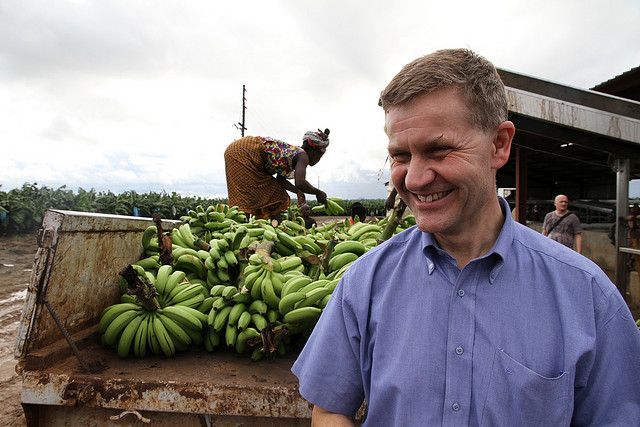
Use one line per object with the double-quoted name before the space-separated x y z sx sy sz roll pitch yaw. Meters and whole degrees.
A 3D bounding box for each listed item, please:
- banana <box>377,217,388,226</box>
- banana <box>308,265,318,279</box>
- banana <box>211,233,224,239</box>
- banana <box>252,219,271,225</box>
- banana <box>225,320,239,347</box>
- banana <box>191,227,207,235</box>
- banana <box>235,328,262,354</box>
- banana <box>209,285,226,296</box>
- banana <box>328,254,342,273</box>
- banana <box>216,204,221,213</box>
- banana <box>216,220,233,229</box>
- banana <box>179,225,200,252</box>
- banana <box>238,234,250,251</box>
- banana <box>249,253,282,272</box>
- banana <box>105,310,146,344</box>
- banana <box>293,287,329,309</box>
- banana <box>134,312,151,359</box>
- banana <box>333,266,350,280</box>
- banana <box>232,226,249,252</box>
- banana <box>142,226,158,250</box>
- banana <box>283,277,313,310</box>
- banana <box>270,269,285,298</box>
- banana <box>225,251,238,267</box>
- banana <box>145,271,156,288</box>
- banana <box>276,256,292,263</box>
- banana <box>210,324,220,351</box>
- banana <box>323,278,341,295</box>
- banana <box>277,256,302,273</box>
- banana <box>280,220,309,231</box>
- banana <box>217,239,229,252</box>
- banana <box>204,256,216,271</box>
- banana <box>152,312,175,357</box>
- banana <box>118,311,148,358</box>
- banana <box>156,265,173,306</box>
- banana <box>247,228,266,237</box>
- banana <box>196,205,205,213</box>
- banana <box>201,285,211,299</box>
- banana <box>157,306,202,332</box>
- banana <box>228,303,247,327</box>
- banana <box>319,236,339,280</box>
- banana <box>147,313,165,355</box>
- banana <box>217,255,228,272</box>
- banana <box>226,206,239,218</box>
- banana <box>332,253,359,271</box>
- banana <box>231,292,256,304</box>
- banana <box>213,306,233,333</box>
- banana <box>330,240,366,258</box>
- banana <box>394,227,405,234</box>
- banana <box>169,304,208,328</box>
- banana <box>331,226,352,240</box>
"banana" 0.653 0.090 4.469 0.077 0.127 0.446 5 -6 13
"banana" -0.063 0.463 3.392 0.038 0.125 0.052 28 -34 -1
"banana" -0.921 0.200 3.787 0.090 0.049 0.093 1 4 6
"banana" -0.587 0.081 4.177 0.084 0.063 0.208 10 -1 11
"banana" -0.608 0.845 2.972 0.053 0.070 0.204 -15 34 16
"banana" -1.137 0.169 3.929 0.104 0.058 0.036 -6 15 -23
"banana" -0.508 0.852 2.967 0.072 0.145 0.278 -14 -22 -42
"banana" -0.784 0.612 3.203 0.071 0.049 0.130 15 31 20
"banana" 0.100 0.386 3.295 0.038 0.194 0.054 30 -25 21
"banana" -1.039 -0.051 4.294 0.052 0.081 0.020 3 -10 -36
"banana" -0.888 0.108 3.969 0.180 0.052 0.074 -5 6 22
"banana" -1.153 0.228 3.728 0.234 0.056 0.084 41 2 36
"banana" -0.582 0.228 3.305 0.042 0.057 0.163 16 -33 3
"banana" -0.416 0.377 3.218 0.171 0.058 0.152 22 5 -10
"banana" -1.427 0.802 3.029 0.172 0.227 0.066 -16 -41 8
"banana" -0.059 0.577 2.846 0.229 0.054 0.078 -27 -10 -21
"banana" -1.239 0.863 2.990 0.062 0.299 0.075 4 -11 5
"banana" 0.150 0.443 3.134 0.046 0.039 0.176 2 24 29
"banana" -0.650 0.188 3.413 0.069 0.247 0.083 19 4 -11
"banana" -1.510 0.219 3.762 0.068 0.223 0.223 11 16 5
"banana" -0.164 0.530 2.987 0.051 0.163 0.195 7 16 34
"banana" -0.314 0.509 3.018 0.059 0.225 0.089 -33 -29 13
"banana" -0.694 0.344 3.305 0.064 0.122 0.045 -30 -37 0
"banana" -1.319 0.506 3.302 0.060 0.113 0.079 -19 27 -19
"banana" -0.298 0.371 3.470 0.034 0.054 0.199 -9 -2 20
"banana" -0.759 0.899 3.043 0.058 0.210 0.067 -6 3 -1
"banana" 0.086 0.504 3.000 0.066 0.058 0.198 -13 6 27
"banana" -0.240 0.407 3.335 0.058 0.082 0.219 -4 9 27
"banana" -0.275 0.124 4.279 0.160 0.045 0.039 28 15 -25
"banana" -0.757 0.257 3.323 0.055 0.036 0.096 13 -36 29
"banana" -0.871 0.399 3.333 0.075 0.103 0.062 -15 2 -28
"banana" -1.091 0.864 2.945 0.080 0.367 0.092 -24 -6 -3
"banana" -1.331 0.846 3.002 0.075 0.344 0.089 0 -33 37
"banana" -1.193 0.555 3.251 0.073 0.285 0.121 9 -42 -8
"banana" -0.558 0.167 3.770 0.052 0.067 0.199 -16 -6 37
"banana" -1.152 -0.038 4.066 0.057 0.049 0.179 -11 -7 -11
"banana" -0.898 0.635 3.339 0.039 0.156 0.051 -6 8 37
"banana" -0.996 0.760 3.070 0.440 0.123 0.096 4 15 32
"banana" -0.587 0.715 3.019 0.057 0.071 0.197 -18 21 14
"banana" 0.054 0.348 3.226 0.099 0.354 0.089 2 18 -25
"banana" -1.158 0.833 3.006 0.076 0.314 0.109 -14 0 -3
"banana" -0.768 0.395 3.296 0.060 0.119 0.038 -15 6 -6
"banana" -0.877 -0.020 4.342 0.063 0.053 0.193 4 17 37
"banana" 0.178 0.378 3.225 0.290 0.108 0.069 -6 5 -37
"banana" -0.558 0.624 3.072 0.084 0.063 0.229 -41 8 -33
"banana" -0.696 0.749 3.054 0.063 0.074 0.219 5 38 18
"banana" 0.221 0.274 3.352 0.170 0.063 0.144 -22 9 -8
"banana" 0.709 0.142 3.849 0.076 0.055 0.095 -5 3 10
"banana" -0.956 0.745 3.044 0.262 0.072 0.047 21 24 2
"banana" 0.186 0.188 3.736 0.161 0.085 0.239 6 -5 3
